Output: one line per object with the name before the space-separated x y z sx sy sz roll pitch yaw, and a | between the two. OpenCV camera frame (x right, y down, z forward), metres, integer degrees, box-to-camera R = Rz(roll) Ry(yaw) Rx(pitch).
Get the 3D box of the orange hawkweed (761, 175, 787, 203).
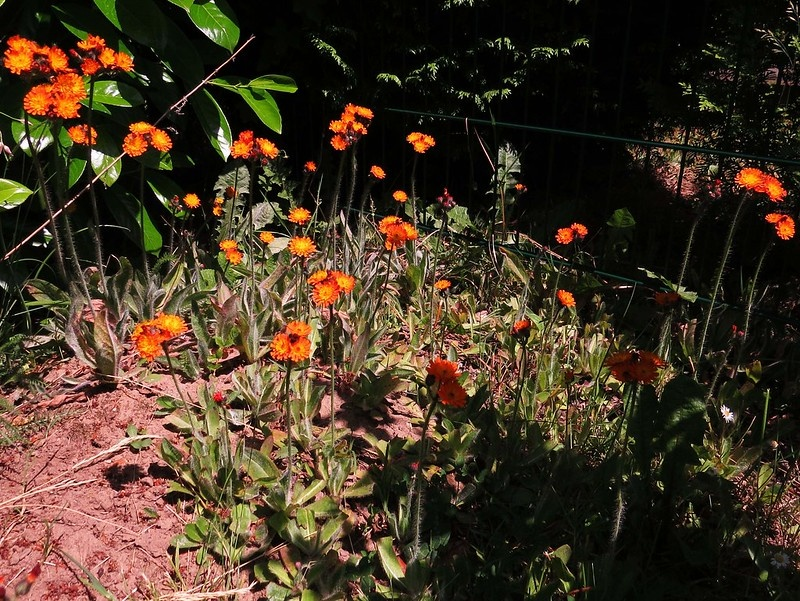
orange hawkweed | 1.429 -0.439 2.403 0.061 0.117 0.217 11 2 31
